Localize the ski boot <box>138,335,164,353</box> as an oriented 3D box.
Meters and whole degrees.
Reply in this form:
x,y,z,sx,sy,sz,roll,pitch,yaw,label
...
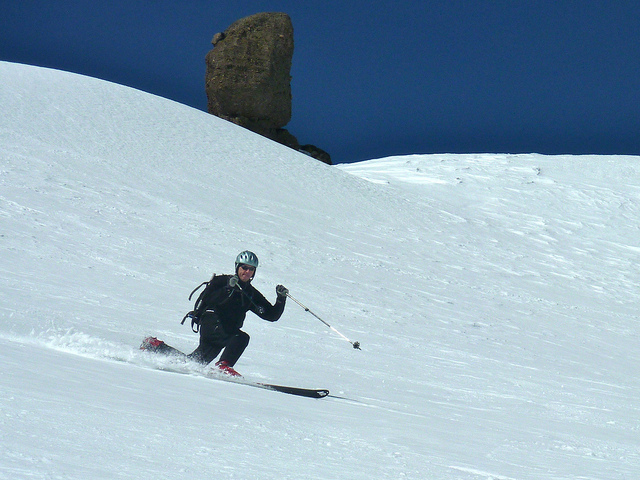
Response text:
x,y,z,sx,sy,sz,roll,pitch,yaw,label
-4.103,2.494,27.370,0.497,0.360,0.386,14,4,-19,ski boot

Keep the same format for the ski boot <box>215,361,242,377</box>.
x,y,z,sx,sy,sz,roll,pitch,yaw,label
-2.109,3.100,27.355,0.716,0.271,0.234,22,18,4,ski boot
